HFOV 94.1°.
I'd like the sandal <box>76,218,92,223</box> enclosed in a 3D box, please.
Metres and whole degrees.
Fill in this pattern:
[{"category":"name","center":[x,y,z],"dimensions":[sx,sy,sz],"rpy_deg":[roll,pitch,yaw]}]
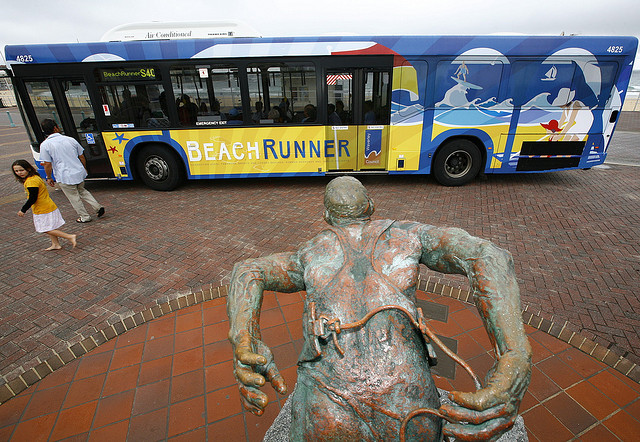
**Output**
[{"category":"sandal","center":[-6.207,-0.006,7.777],"dimensions":[0.310,0.094,0.122],"rpy_deg":[2,6,-7]}]

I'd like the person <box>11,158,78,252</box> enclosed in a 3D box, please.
[{"category":"person","center":[-5.843,-0.257,6.242],"dimensions":[0.861,1.946,0.565],"rpy_deg":[21,34,40]}]

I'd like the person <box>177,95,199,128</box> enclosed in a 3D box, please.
[{"category":"person","center":[-4.019,-3.290,8.893],"dimensions":[0.546,0.768,0.210],"rpy_deg":[-21,17,5]}]
